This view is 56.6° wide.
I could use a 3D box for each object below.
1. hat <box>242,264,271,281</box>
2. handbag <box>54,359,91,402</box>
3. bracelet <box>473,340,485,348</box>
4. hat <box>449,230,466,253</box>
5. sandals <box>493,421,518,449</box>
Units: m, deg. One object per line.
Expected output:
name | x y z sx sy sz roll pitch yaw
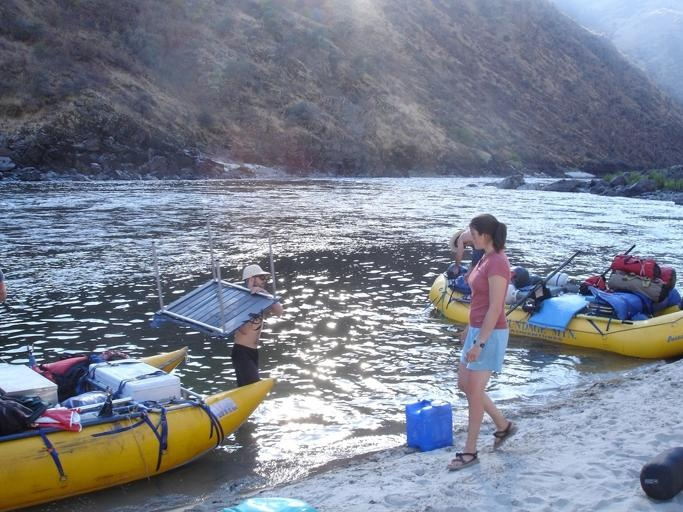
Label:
hat | -1.358 0.244 9.914 0.443 0.179 0.291 -6 2 -5
handbag | -4.019 1.796 9.325 0.519 0.567 0.246 10 -8 -7
bracelet | 1.644 1.056 7.657 0.113 0.061 0.101 18 -10 -16
hat | 2.727 -0.366 14.874 0.142 0.464 0.500 25 36 17
sandals | 2.141 2.351 8.342 0.206 0.488 0.173 13 43 -5
